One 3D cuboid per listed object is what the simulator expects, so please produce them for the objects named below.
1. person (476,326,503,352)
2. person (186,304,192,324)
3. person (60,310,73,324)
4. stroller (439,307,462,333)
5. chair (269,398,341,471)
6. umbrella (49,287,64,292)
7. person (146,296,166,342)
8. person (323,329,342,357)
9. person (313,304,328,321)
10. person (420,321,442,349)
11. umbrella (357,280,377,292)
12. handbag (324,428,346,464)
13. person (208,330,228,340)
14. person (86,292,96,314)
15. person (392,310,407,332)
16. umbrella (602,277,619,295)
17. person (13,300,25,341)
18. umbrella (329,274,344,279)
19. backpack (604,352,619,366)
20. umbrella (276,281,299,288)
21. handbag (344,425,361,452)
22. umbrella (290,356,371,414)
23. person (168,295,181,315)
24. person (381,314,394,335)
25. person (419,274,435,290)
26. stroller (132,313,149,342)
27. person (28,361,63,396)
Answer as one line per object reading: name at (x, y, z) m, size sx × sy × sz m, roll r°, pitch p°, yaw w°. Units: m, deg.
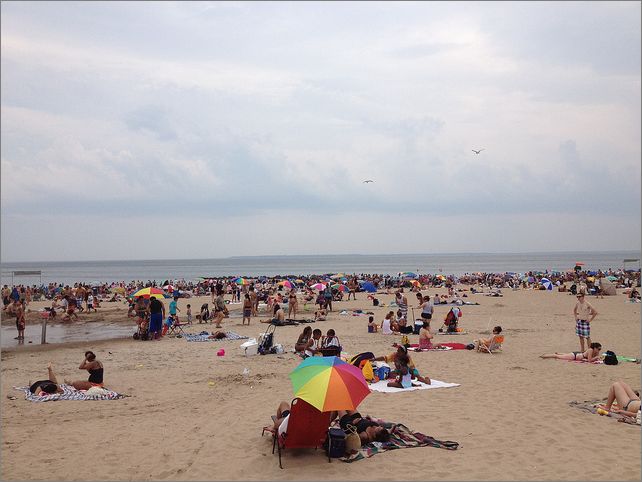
person at (5.403, 3.200, 22.122) m, size 0.743 × 0.799 × 0.406 m, roll 1°, pitch 10°, yaw 15°
person at (-6.015, 3.472, 31.109) m, size 0.195 × 0.862 × 1.102 m, roll -3°, pitch 10°, yaw -11°
person at (-12.290, 3.700, 33.108) m, size 0.481 × 0.410 × 0.745 m, roll 6°, pitch 11°, yaw -5°
stroller at (4.967, 3.018, 26.178) m, size 0.688 × 1.402 × 1.038 m, roll -2°, pitch -8°, yaw 13°
chair at (-0.450, 4.324, 15.822) m, size 1.194 × 1.491 × 2.129 m, roll -1°, pitch -5°, yaw -11°
umbrella at (-19.666, 3.623, 50.733) m, size 0.682 × 0.277 × 0.624 m, roll -2°, pitch -3°, yaw 34°
person at (-6.406, 2.960, 26.450) m, size 0.582 × 1.820 × 1.111 m, roll -3°, pitch 10°, yaw -14°
person at (0.285, 2.976, 19.700) m, size 0.511 × 0.838 × 0.757 m, roll 0°, pitch 9°, yaw 5°
person at (-0.176, 3.487, 32.528) m, size 0.366 × 0.572 × 1.057 m, roll 0°, pitch -13°, yaw 4°
person at (3.616, 3.246, 23.169) m, size 0.676 × 0.964 × 0.660 m, roll -1°, pitch -1°, yaw -10°
umbrella at (2.394, 2.379, 34.363) m, size 0.627 × 0.271 × 0.650 m, roll 9°, pitch 7°, yaw -17°
handbag at (0.357, 4.631, 15.510) m, size 0.366 × 0.567 × 0.423 m, roll 3°, pitch 1°, yaw -28°
person at (-3.976, 3.667, 26.390) m, size 0.753 × 0.242 × 0.374 m, roll -3°, pitch 10°, yaw -13°
person at (-13.187, 3.610, 39.150) m, size 0.524 × 0.935 × 1.692 m, roll 2°, pitch 8°, yaw -12°
person at (3.078, 3.148, 26.613) m, size 0.388 × 0.966 × 0.541 m, roll 5°, pitch 29°, yaw 8°
umbrella at (17.033, 2.796, 40.412) m, size 0.800 × 0.973 × 0.610 m, roll 3°, pitch 10°, yaw 23°
person at (-11.807, 3.244, 26.722) m, size 0.372 × 1.598 × 1.560 m, roll -5°, pitch 10°, yaw -25°
umbrella at (1.448, 3.342, 64.065) m, size 1.007 × 0.407 × 1.418 m, roll -1°, pitch -2°, yaw -3°
backpack at (8.664, 3.517, 20.435) m, size 0.401 × 0.437 × 0.298 m, roll -2°, pitch 4°, yaw -28°
umbrella at (-2.323, 3.031, 47.182) m, size 0.960 × 0.350 × 1.003 m, roll 9°, pitch 2°, yaw 3°
handbag at (0.678, 4.529, 15.560) m, size 0.357 × 0.501 × 0.370 m, roll -8°, pitch 12°, yaw -36°
umbrella at (0.162, 3.153, 15.007) m, size 1.246 × 0.647 × 1.262 m, roll 34°, pitch 42°, yaw 24°
person at (-6.105, 2.679, 28.258) m, size 0.323 × 0.983 × 1.140 m, roll -3°, pitch 10°, yaw -12°
person at (2.571, 3.235, 26.246) m, size 0.393 × 0.729 × 0.723 m, roll -1°, pitch 9°, yaw 1°
person at (9.083, 3.591, 58.354) m, size 1.376 × 0.666 × 1.866 m, roll -1°, pitch 3°, yaw 0°
stroller at (-7.052, 3.477, 26.962) m, size 0.685 × 1.137 × 0.883 m, roll 1°, pitch -9°, yaw 3°
person at (-7.513, 3.872, 18.808) m, size 1.141 × 0.617 × 0.765 m, roll -4°, pitch 9°, yaw -34°
